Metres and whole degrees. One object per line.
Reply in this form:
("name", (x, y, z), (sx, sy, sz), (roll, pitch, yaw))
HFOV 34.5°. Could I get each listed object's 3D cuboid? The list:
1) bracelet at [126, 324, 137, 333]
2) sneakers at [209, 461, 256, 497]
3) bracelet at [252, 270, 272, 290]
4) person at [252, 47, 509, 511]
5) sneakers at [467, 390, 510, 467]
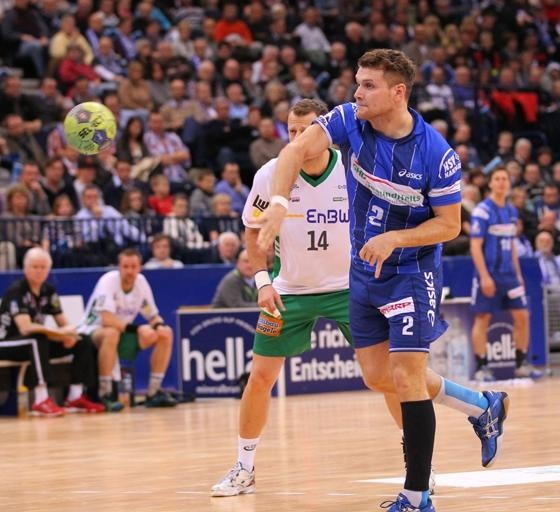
("bracelet", (-1.593, 0.772, 9.627), (0.068, 0.093, 0.172), (-6, -4, 29))
("sneakers", (-0.270, 1.365, 5.451), (0.113, 0.171, 0.317), (-10, -12, 42))
("bracelet", (-0.116, 0.145, 5.352), (0.098, 0.114, 0.099), (-10, 0, -15))
("person", (0.557, 0.120, 4.965), (0.963, 2.479, 0.648), (-4, -3, 1))
("sneakers", (1.297, 1.025, 5.652), (0.231, 0.547, 0.177), (7, -7, -18))
